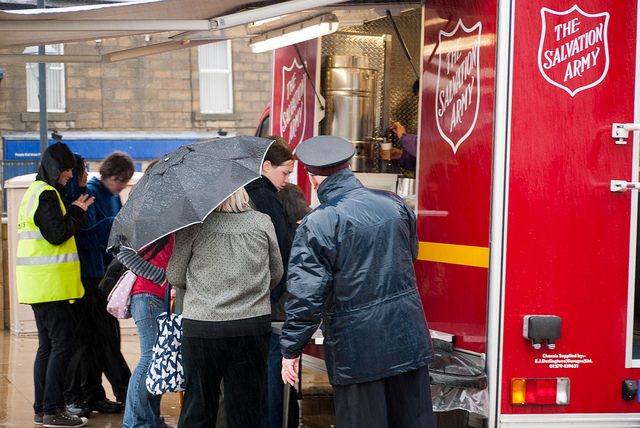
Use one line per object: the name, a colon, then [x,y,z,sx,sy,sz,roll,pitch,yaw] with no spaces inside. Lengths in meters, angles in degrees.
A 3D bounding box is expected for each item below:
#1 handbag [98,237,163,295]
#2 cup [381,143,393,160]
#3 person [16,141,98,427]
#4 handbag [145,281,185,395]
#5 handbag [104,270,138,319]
handbag: [-1.610,0.447,8.106,0.413,0.440,0.279,-40,-10,28]
cup: [0.648,-0.616,9.351,0.132,0.153,0.131,1,0,0]
person: [-2.557,0.674,9.109,0.691,2.681,0.515,0,-2,-19]
handbag: [-1.229,1.108,7.640,0.351,0.636,0.167,-2,-2,23]
handbag: [-1.765,0.692,8.402,0.205,0.438,0.407,26,0,5]
